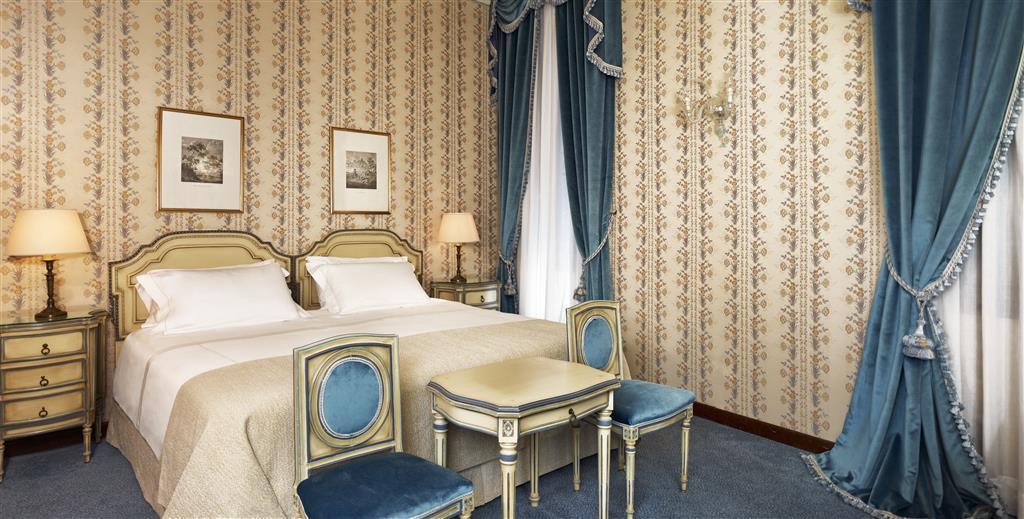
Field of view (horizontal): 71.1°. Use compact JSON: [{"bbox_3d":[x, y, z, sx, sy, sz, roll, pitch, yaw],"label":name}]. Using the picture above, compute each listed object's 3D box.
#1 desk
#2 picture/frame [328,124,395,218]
[{"bbox_3d":[0.038,1.224,6.581,1.715,1.272,1.413,-3,4,-42],"label":"desk"},{"bbox_3d":[-1.870,-1.096,8.714,0.764,1.001,0.232,-6,12,-16],"label":"picture/frame"}]
